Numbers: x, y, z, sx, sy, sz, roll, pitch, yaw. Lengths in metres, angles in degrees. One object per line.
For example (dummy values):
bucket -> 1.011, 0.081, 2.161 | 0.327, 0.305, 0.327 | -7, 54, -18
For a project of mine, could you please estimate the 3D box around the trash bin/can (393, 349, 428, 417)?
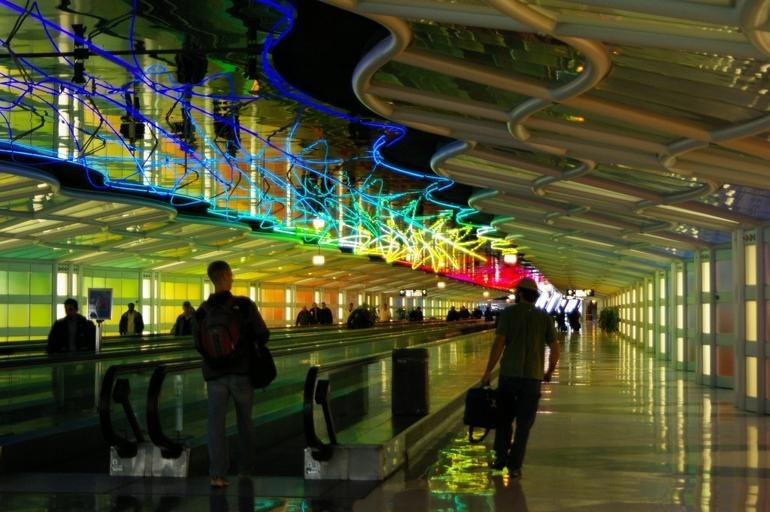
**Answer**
trash bin/can -> 0.423, 2.048, 12.702 | 0.767, 1.120, 0.326 | -10, -7, -3

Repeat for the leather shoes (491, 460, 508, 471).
leather shoes -> 1.546, 2.844, 10.676 | 0.215, 0.132, 0.188 | 0, -10, -25

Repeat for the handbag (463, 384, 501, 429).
handbag -> 1.346, 2.067, 10.735 | 0.538, 0.562, 0.297 | -10, -7, 3

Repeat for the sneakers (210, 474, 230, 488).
sneakers -> -2.041, 2.777, 9.690 | 0.213, 0.135, 0.266 | -6, -6, -11

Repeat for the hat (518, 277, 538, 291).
hat -> 2.055, 0.387, 11.045 | 0.295, 0.105, 0.191 | 10, 0, 19

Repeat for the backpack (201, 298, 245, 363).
backpack -> -2.032, 0.936, 9.690 | 0.577, 0.848, 0.222 | -10, -8, -10
